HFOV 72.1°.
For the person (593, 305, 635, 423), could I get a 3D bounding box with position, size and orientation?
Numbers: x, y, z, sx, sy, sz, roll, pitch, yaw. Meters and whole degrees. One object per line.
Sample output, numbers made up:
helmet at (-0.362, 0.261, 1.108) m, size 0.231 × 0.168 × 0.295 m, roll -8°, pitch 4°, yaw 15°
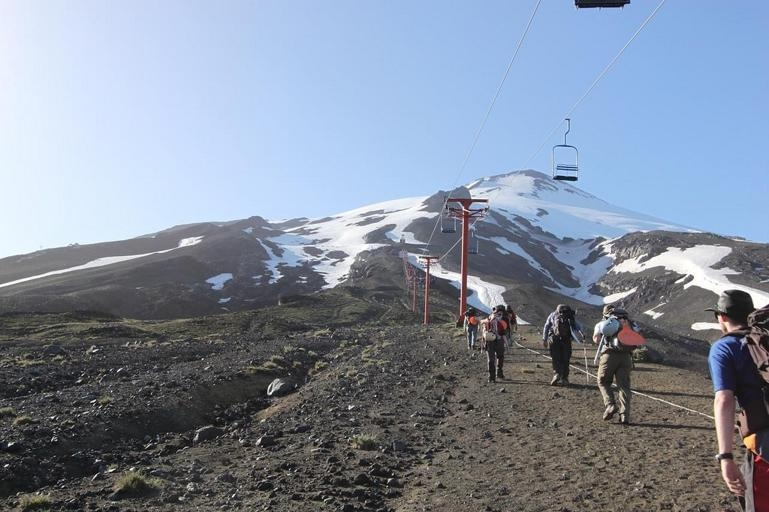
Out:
person at (7.108, 3.323, 16.293) m, size 1.092 × 3.645 × 0.760 m, roll -1°, pitch -3°, yaw 20°
